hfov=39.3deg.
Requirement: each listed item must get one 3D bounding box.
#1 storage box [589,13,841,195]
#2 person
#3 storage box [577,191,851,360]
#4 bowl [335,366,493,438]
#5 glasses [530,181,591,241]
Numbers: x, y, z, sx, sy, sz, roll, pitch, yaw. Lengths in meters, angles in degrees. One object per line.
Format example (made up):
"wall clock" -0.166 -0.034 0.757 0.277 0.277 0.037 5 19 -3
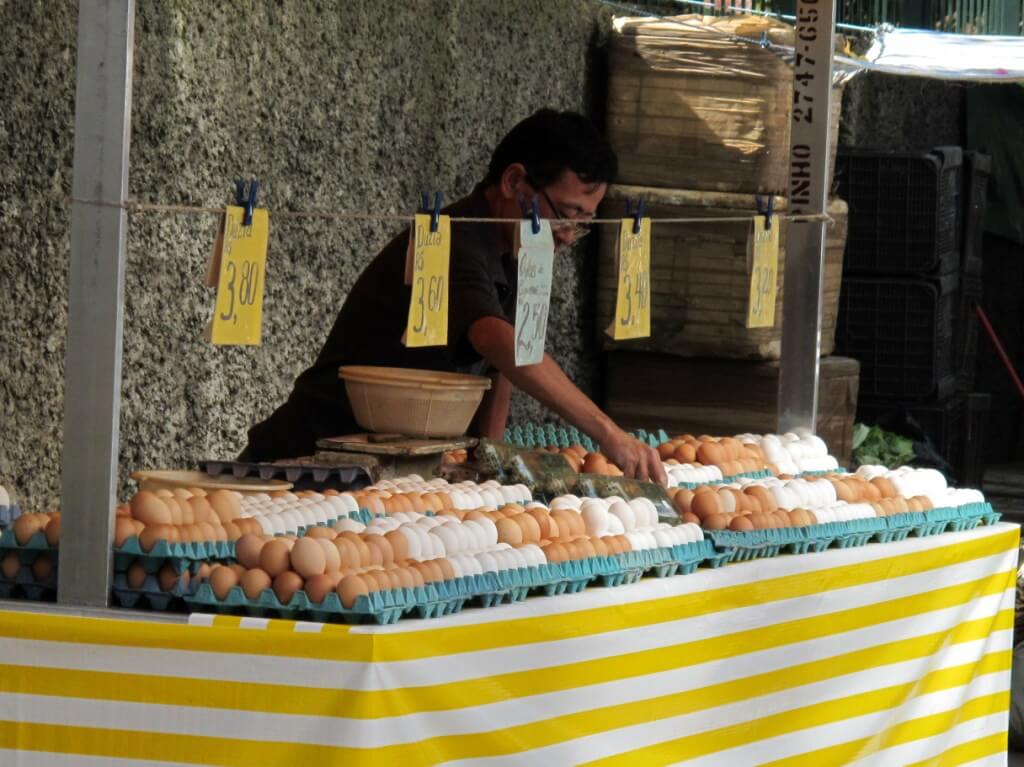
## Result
"storage box" 0.811 -1.226 6.288 0.875 0.781 0.305 12 13 15
"person" -0.171 -0.280 4.439 0.906 1.257 1.071 14 14 40
"storage box" 0.874 -0.502 6.464 0.859 0.676 0.894 5 7 28
"bowl" -0.281 0.061 3.993 0.415 0.189 0.237 8 12 -2
"glasses" 0.136 -0.508 4.196 0.050 0.177 0.169 -26 -5 17
